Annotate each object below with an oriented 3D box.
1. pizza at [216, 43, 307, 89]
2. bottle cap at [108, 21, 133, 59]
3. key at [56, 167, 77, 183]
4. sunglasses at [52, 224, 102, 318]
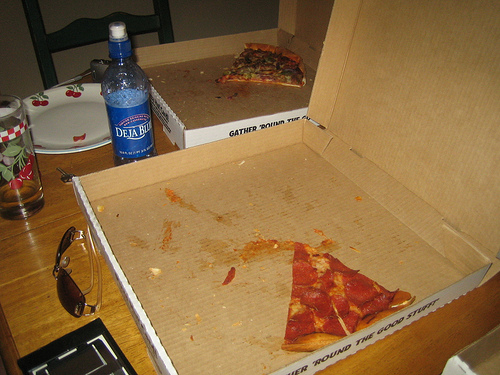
[{"bbox_3d":[0.045,-0.414,1.351,0.275,0.058,0.305,4,35,3],"label":"pizza"},{"bbox_3d":[-0.273,-0.312,0.861,0.044,0.075,0.043,29,52,20],"label":"bottle cap"},{"bbox_3d":[-0.451,-0.029,1.000,0.039,0.018,0.051,-28,54,-35],"label":"key"},{"bbox_3d":[-0.365,0.168,0.850,0.087,0.073,0.242,2,31,-30],"label":"sunglasses"}]
